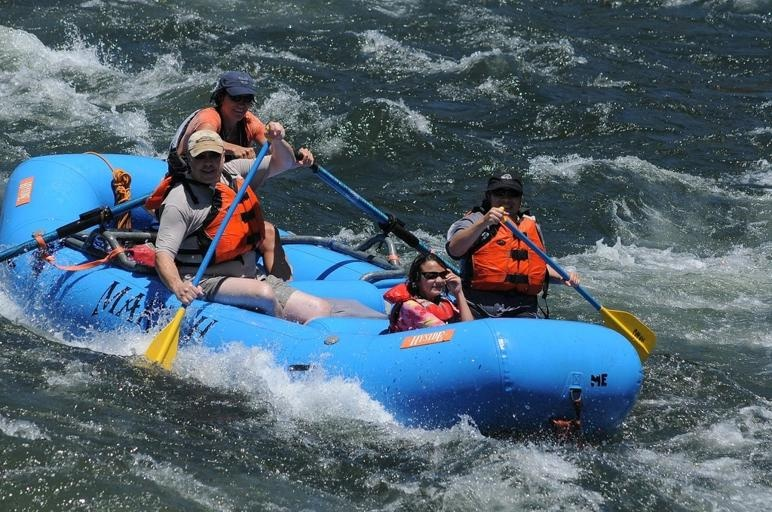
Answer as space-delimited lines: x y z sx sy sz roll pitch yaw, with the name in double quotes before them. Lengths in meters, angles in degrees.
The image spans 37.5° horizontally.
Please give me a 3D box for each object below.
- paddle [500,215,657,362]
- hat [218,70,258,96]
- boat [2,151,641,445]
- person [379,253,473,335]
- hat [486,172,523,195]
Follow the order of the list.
"paddle" 2.286 0.439 13.594 2.422 0.513 0.143 39 17 -15
"hat" -1.742 -1.981 13.161 0.423 0.286 0.269 3 7 -10
"boat" -1.280 0.651 12.687 6.797 1.504 3.193 19 20 33
"person" 0.395 0.410 12.373 0.762 0.376 0.971 -6 26 -16
"hat" 1.344 -0.808 12.901 0.498 0.216 0.671 3 -4 3
